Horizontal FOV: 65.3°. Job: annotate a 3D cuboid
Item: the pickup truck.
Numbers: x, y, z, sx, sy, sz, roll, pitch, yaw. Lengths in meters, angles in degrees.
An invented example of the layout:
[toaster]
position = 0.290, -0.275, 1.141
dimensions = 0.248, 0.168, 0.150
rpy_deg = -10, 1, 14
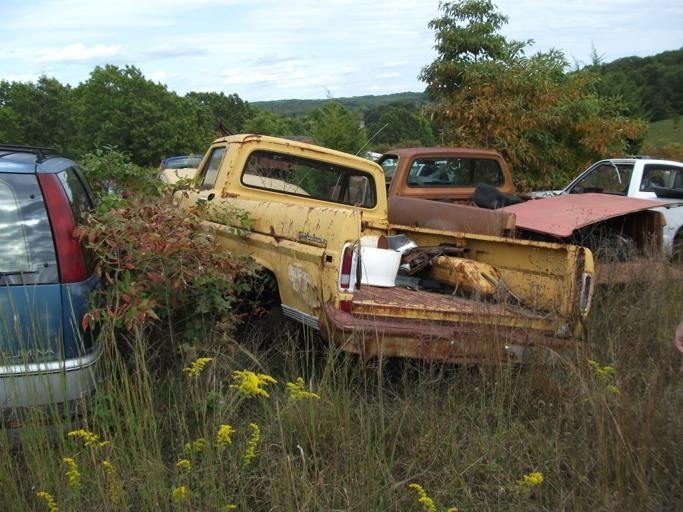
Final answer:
[pickup truck]
position = 0.101, -0.350, 5.730
dimensions = 2.720, 1.692, 4.663
rpy_deg = -1, 16, -28
